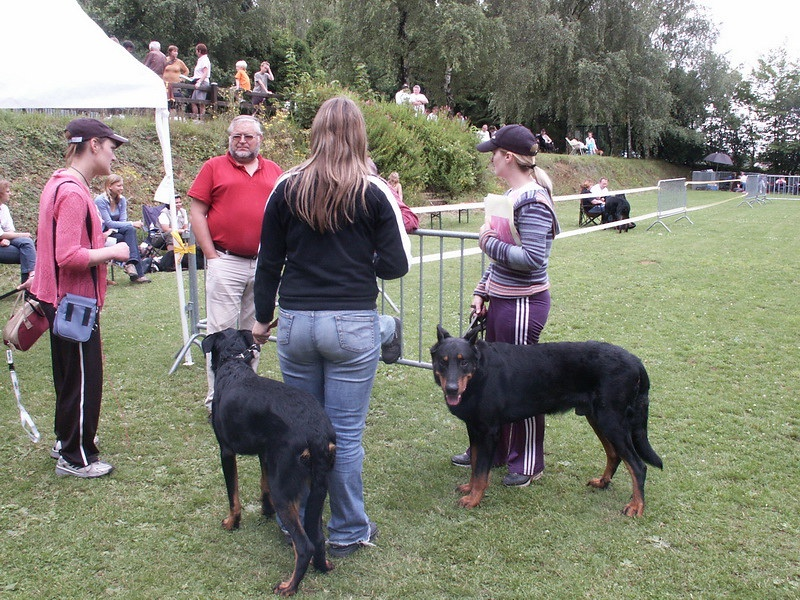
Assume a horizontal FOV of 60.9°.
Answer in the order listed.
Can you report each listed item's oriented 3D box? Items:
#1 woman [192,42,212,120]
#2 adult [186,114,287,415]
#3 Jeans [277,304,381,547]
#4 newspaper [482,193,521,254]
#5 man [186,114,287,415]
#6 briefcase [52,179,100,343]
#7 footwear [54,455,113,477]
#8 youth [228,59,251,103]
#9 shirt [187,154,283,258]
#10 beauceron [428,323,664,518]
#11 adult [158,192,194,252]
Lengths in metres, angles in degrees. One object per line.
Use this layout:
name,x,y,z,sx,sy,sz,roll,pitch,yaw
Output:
woman,-5.749,-6.242,19.551,0.726,2.193,0.621,20,23,33
adult,-1.556,-0.335,6.619,0.949,2.975,0.881,1,3,-27
Jeans,-0.548,0.900,4.970,0.445,1.790,1.269,2,-9,-11
newspaper,0.848,-0.650,5.711,0.123,0.411,0.354,-15,25,-33
man,-1.543,-0.287,6.630,1.030,3.169,0.853,5,-7,-37
briefcase,-2.640,-0.326,5.513,0.329,1.360,0.210,11,23,5
footwear,-2.726,1.467,5.965,0.462,0.250,0.200,1,7,0
youth,-4.937,-6.724,21.184,0.373,1.370,0.424,19,15,42
shirt,-1.543,-0.937,6.719,1.016,1.067,0.576,2,3,-36
beauceron,1.226,0.992,5.746,1.959,1.563,0.779,0,9,-1
adult,-4.254,-1.424,12.898,0.531,1.347,0.852,2,-4,-27
